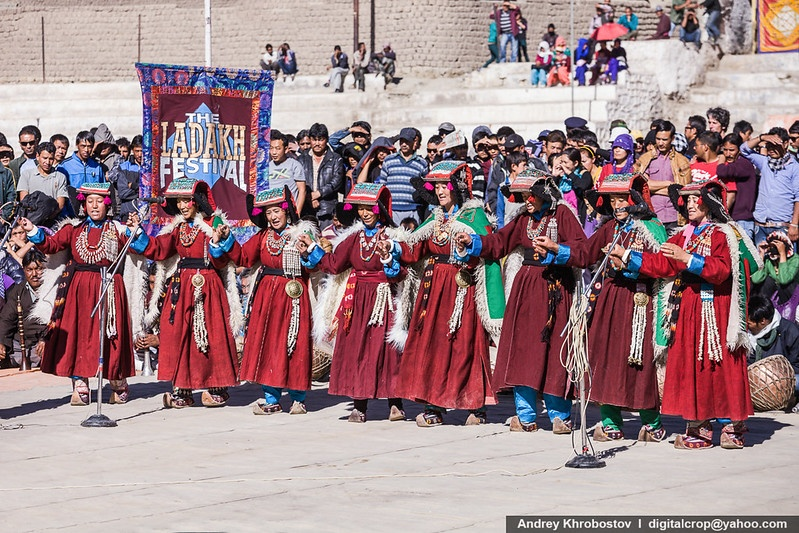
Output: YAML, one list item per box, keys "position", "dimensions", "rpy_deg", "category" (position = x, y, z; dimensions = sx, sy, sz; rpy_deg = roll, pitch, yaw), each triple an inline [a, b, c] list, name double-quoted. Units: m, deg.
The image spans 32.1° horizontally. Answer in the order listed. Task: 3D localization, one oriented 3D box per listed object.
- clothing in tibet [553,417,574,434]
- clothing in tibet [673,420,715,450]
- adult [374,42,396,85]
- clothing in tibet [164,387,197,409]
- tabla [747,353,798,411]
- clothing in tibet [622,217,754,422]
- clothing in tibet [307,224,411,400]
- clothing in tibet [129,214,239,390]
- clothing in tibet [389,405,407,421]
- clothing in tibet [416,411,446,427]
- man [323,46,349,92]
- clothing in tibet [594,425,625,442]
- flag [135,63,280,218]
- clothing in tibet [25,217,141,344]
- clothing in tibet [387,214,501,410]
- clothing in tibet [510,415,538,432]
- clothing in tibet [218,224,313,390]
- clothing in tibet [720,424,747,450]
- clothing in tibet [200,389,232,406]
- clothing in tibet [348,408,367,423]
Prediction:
- position: [1.660, 1.585, 14.089]
  dimensions: [0.206, 0.150, 0.273]
  rpy_deg: [1, 13, 7]
  category: "clothing in tibet"
- position: [2.896, 1.657, 13.665]
  dimensions: [0.422, 0.272, 0.199]
  rpy_deg: [1, -3, 3]
  category: "clothing in tibet"
- position: [-0.345, -4.745, 32.877]
  dimensions: [0.425, 0.944, 0.840]
  rpy_deg: [-1, 13, -1]
  category: "adult"
- position: [-2.381, 1.425, 15.059]
  dimensions: [0.302, 0.277, 0.192]
  rpy_deg: [8, -12, -33]
  category: "clothing in tibet"
- position: [3.930, 1.236, 14.622]
  dimensions: [0.495, 0.433, 0.503]
  rpy_deg: [-12, -16, -45]
  category: "tabla"
- position: [2.813, 0.530, 13.607]
  dimensions: [1.365, 1.921, 1.117]
  rpy_deg: [-3, 1, -6]
  category: "clothing in tibet"
- position: [-0.350, 0.393, 14.680]
  dimensions: [1.224, 1.885, 0.906]
  rpy_deg: [4, 0, 1]
  category: "clothing in tibet"
- position: [-2.367, 0.318, 15.108]
  dimensions: [1.175, 2.004, 0.837]
  rpy_deg: [0, 7, -19]
  category: "clothing in tibet"
- position: [-0.019, 1.544, 14.567]
  dimensions: [0.102, 0.096, 0.213]
  rpy_deg: [-1, -19, 3]
  category: "clothing in tibet"
- position: [0.313, 1.584, 14.356]
  dimensions: [0.292, 0.191, 0.112]
  rpy_deg: [6, -9, -25]
  category: "clothing in tibet"
- position: [-1.436, -4.615, 32.472]
  dimensions: [0.492, 0.972, 1.100]
  rpy_deg: [-2, 13, -2]
  category: "man"
- position: [2.099, 1.667, 13.871]
  dimensions: [0.257, 0.118, 0.152]
  rpy_deg: [5, -11, -24]
  category: "clothing in tibet"
- position: [-2.238, -1.446, 16.268]
  dimensions: [2.080, 2.354, 0.297]
  rpy_deg: [0, 1, -27]
  category: "flag"
- position: [-3.575, 0.252, 15.780]
  dimensions: [1.398, 1.528, 1.288]
  rpy_deg: [3, -11, -8]
  category: "clothing in tibet"
- position: [0.477, 0.337, 14.537]
  dimensions: [1.273, 2.179, 1.062]
  rpy_deg: [0, -11, 13]
  category: "clothing in tibet"
- position: [1.280, 1.620, 14.179]
  dimensions: [0.304, 0.131, 0.119]
  rpy_deg: [0, -3, -7]
  category: "clothing in tibet"
- position: [-1.338, 0.416, 14.854]
  dimensions: [0.760, 1.670, 0.793]
  rpy_deg: [-2, 14, -5]
  category: "clothing in tibet"
- position: [3.285, 1.618, 13.631]
  dimensions: [0.241, 0.246, 0.388]
  rpy_deg: [3, 14, 15]
  category: "clothing in tibet"
- position: [-1.984, 1.422, 15.073]
  dimensions: [0.279, 0.151, 0.130]
  rpy_deg: [0, 3, -11]
  category: "clothing in tibet"
- position: [-0.441, 1.568, 14.523]
  dimensions: [0.101, 0.073, 0.191]
  rpy_deg: [2, 3, 11]
  category: "clothing in tibet"
